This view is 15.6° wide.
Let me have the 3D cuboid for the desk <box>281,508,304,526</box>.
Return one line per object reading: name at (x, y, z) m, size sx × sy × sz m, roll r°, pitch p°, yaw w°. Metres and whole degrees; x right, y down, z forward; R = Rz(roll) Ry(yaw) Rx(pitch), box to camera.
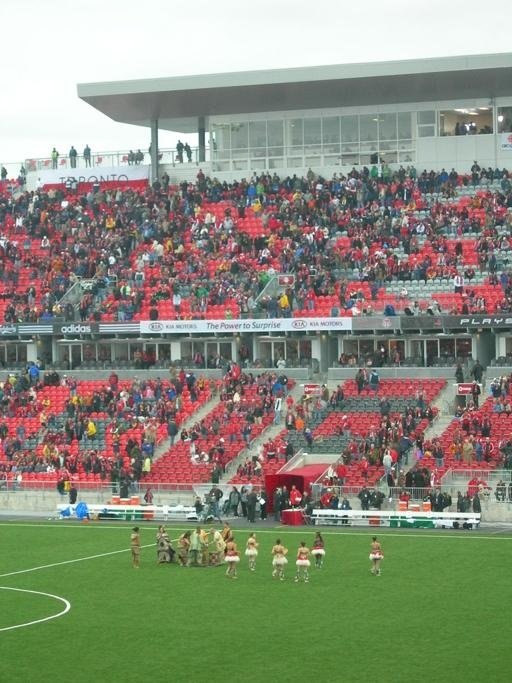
desk at (1.605, 7.081, 76.483) m, size 0.606 × 0.587 × 0.643 m, roll -1°, pitch -1°, yaw 38°
